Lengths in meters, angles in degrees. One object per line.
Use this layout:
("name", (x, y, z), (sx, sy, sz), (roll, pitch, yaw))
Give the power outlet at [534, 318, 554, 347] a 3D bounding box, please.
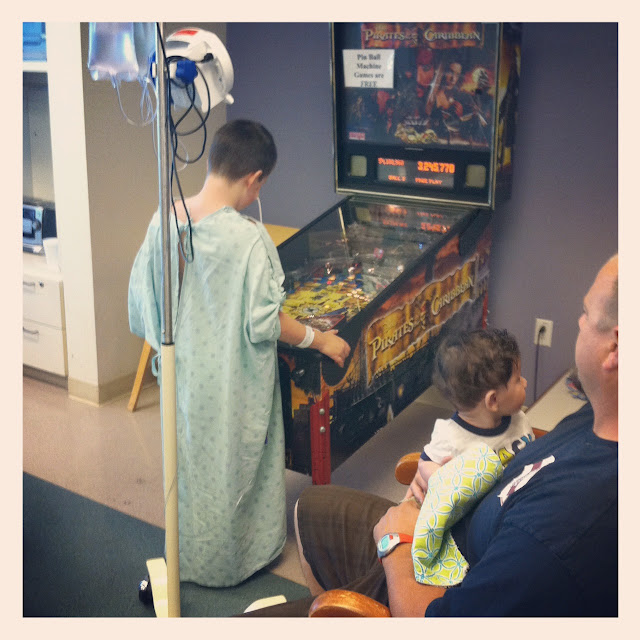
("power outlet", (1.145, 0.061, 3.236), (0.104, 0.214, 0.019), (6, 9, 40))
